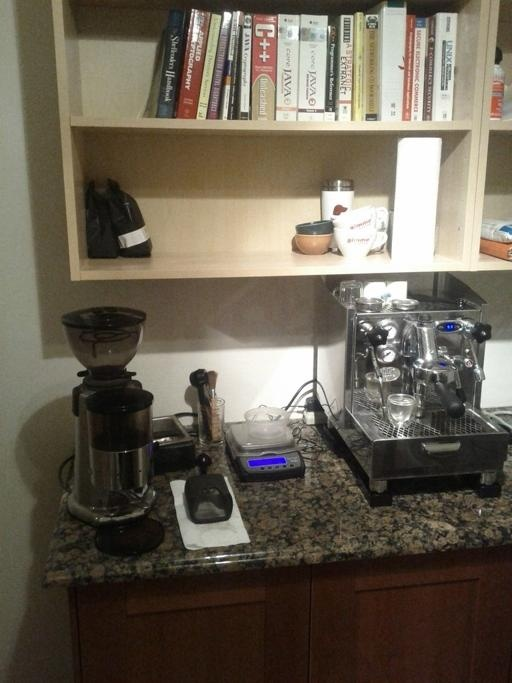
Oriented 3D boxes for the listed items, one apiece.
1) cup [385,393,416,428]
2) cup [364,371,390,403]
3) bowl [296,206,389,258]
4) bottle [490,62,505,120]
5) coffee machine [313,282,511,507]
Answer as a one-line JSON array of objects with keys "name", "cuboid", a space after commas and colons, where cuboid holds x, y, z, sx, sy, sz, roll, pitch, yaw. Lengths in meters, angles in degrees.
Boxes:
[{"name": "cup", "cuboid": [0.323, 0.157, 1.330, 0.066, 0.072, 0.065, 1, 2, 0]}, {"name": "cup", "cuboid": [0.282, 0.108, 1.394, 0.050, 0.066, 0.069, -2, 14, 1]}, {"name": "bowl", "cuboid": [0.203, -0.257, 1.421, 0.128, 0.089, 0.198, -9, 5, -44]}, {"name": "bottle", "cuboid": [0.537, -0.558, 1.310, 0.025, 0.118, 0.130, 5, 19, 22]}, {"name": "coffee machine", "cuboid": [0.284, 0.104, 1.420, 0.343, 0.480, 0.562, -1, 10, -3]}]
